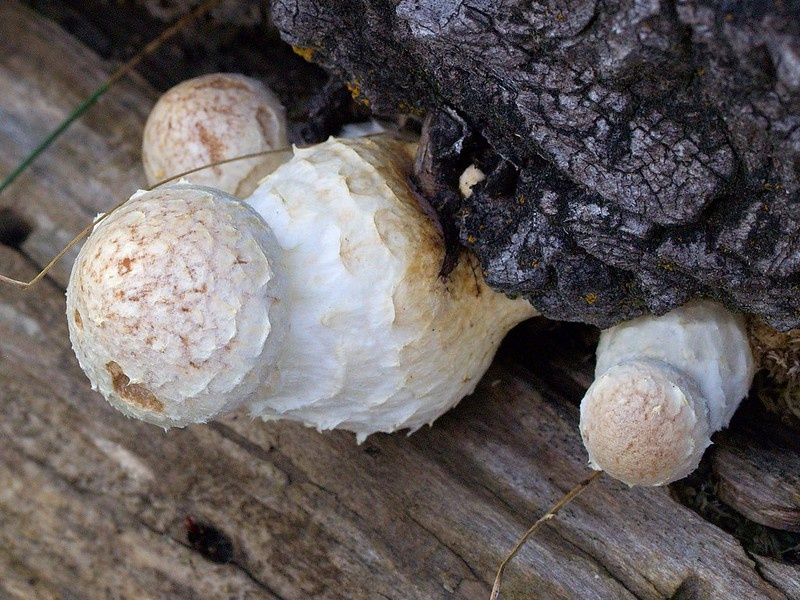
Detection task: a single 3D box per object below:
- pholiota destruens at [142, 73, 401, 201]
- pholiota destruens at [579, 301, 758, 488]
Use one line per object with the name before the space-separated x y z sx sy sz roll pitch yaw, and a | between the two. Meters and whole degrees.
pholiota destruens | -0.634 -0.632 3.596 0.531 0.485 0.303 5 3 -31
pholiota destruens | 0.961 0.341 3.337 0.516 0.706 0.344 24 -17 28
